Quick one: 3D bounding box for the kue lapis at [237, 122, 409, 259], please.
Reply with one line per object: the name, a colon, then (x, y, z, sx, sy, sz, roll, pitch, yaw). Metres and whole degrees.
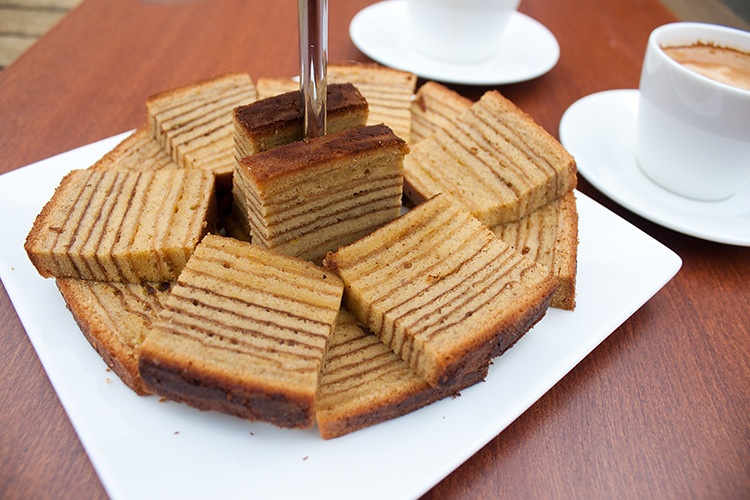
kue lapis: (-0.133, -0.208, 2.051, 0.465, 0.457, 0.186, -17, 56, -10)

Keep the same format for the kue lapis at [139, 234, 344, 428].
kue lapis: (-0.361, 0.227, 1.845, 0.472, 0.096, 0.433, 12, 61, 3)

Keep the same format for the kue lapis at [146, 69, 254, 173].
kue lapis: (-0.586, -0.435, 2.275, 0.356, 0.090, 0.381, -19, 67, -30)

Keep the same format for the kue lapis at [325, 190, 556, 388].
kue lapis: (0.182, 0.084, 1.936, 0.476, 0.143, 0.501, -31, 57, -24)

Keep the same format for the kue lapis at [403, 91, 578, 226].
kue lapis: (0.360, -0.276, 2.201, 0.448, 0.130, 0.467, -34, 53, -14)
